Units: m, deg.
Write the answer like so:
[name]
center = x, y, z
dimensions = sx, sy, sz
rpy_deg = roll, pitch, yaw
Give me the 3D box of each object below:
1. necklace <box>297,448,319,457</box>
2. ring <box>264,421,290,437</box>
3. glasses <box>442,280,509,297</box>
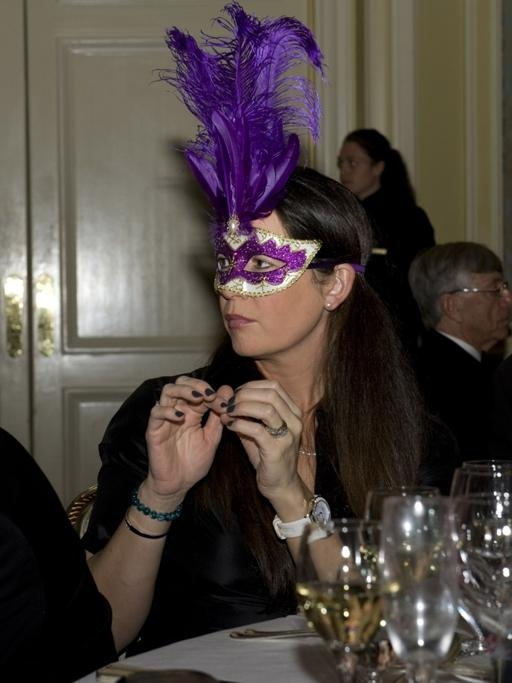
[necklace]
center = 0.101, 0.217, 1.448
dimensions = 0.032, 0.011, 0.023
rpy_deg = 14, -13, -15
[ring]
center = 0.029, 0.129, 1.077
dimensions = 0.033, 0.019, 0.020
rpy_deg = -2, 4, 14
[glasses]
center = 0.733, -0.167, 2.430
dimensions = 0.124, 0.031, 0.090
rpy_deg = -4, 0, -1
